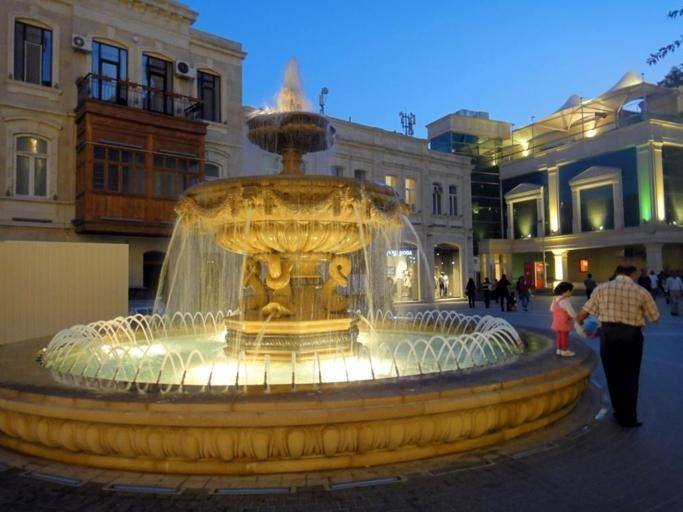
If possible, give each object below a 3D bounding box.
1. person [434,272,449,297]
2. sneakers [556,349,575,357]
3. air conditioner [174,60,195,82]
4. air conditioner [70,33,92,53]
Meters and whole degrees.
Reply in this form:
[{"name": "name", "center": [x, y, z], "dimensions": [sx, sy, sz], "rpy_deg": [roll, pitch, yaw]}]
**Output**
[{"name": "person", "center": [5.739, 1.684, 37.729], "dimensions": [0.640, 1.439, 1.628], "rpy_deg": [3, 2, 24]}, {"name": "sneakers", "center": [3.498, 1.534, 10.193], "dimensions": [0.108, 0.100, 0.229], "rpy_deg": [3, -8, -28]}, {"name": "air conditioner", "center": [-6.269, -7.359, 25.650], "dimensions": [0.355, 0.834, 0.943], "rpy_deg": [-4, -4, 29]}, {"name": "air conditioner", "center": [-9.266, -7.566, 22.921], "dimensions": [0.385, 0.701, 0.758], "rpy_deg": [-2, -1, 25]}]
